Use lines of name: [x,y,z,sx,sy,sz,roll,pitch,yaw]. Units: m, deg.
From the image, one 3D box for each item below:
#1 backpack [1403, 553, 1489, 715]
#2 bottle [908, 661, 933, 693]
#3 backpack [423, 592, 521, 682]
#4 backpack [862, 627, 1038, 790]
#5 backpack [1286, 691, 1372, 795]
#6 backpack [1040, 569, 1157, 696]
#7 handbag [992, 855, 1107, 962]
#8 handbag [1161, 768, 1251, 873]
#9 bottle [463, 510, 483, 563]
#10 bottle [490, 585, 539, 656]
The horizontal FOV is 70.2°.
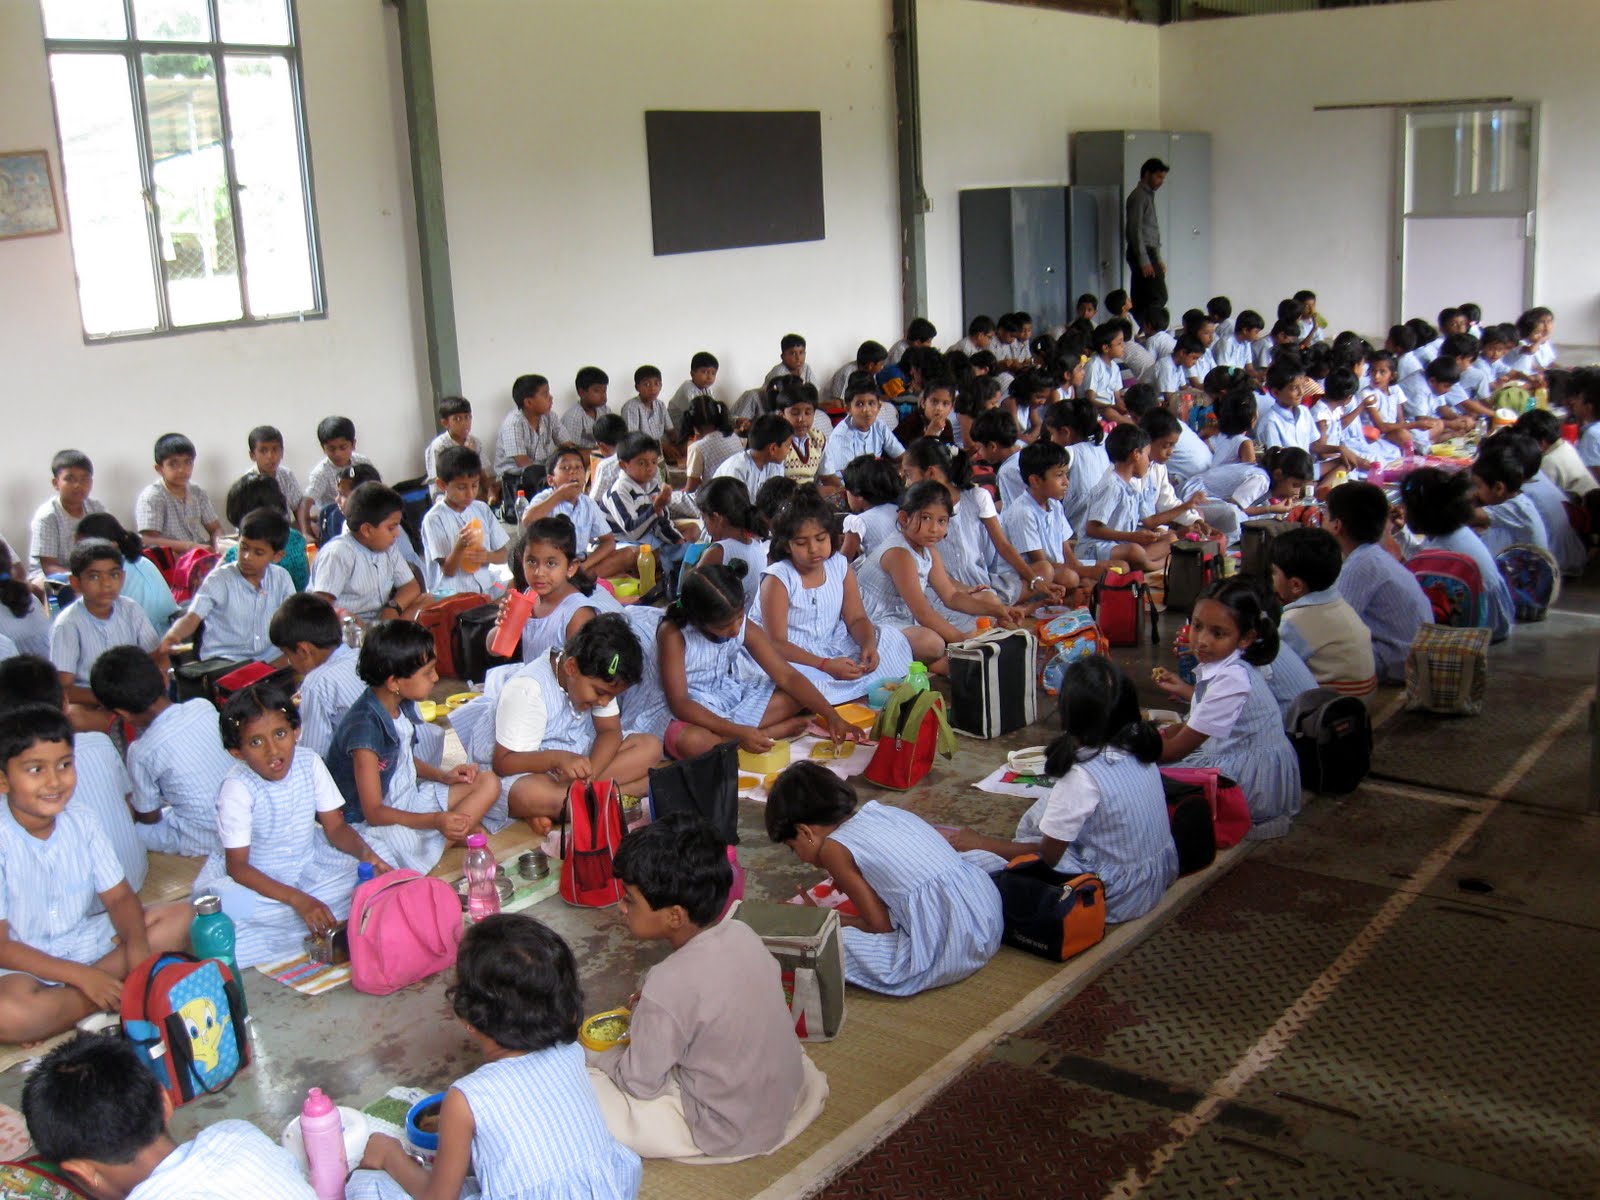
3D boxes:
backpack: [2.989,0.138,5.270,0.516,0.270,0.875,-4,50,29]
bottle: [0.469,0.308,4.546,0.116,0.115,0.045,2,-10,-41]
backpack: [-1.681,0.156,5.882,0.439,0.595,0.519,0,12,-9]
backpack: [0.583,0.371,4.953,0.344,0.575,1.159,13,26,39]
backpack: [1.980,0.547,4.294,0.321,0.381,0.207,-11,10,-28]
backpack: [1.503,0.216,5.687,0.684,0.265,0.522,-15,19,4]
handbag: [0.767,0.907,3.477,0.266,0.215,0.312,-18,13,-33]
handbag: [1.324,0.745,3.908,0.302,0.284,0.406,9,13,41]
bottle: [-1.790,-0.364,6.199,0.082,0.229,0.166,-4,-25,-6]
bottle: [-1.188,0.109,4.717,0.199,0.277,0.174,-2,11,9]
